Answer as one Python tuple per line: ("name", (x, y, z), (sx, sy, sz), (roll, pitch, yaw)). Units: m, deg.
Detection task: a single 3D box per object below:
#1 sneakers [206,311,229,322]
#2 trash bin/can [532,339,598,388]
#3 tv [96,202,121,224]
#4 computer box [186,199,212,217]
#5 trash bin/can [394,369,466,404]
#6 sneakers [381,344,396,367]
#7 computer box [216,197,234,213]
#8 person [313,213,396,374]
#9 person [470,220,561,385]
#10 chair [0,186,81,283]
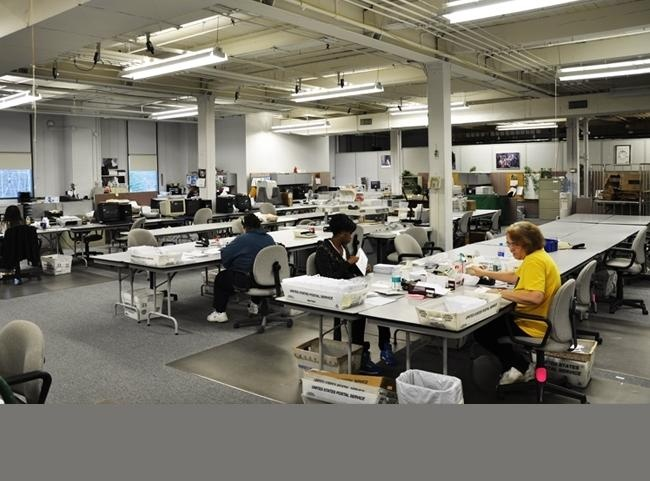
("sneakers", (-1.245, 0.890, 5.580), (0.254, 0.112, 0.103), (3, 4, 23))
("trash bin/can", (2.027, 0.975, 3.891), (0.387, 0.228, 0.389), (-1, 0, 39))
("tv", (-4.322, -0.542, 9.411), (0.381, 0.321, 0.442), (-2, 8, -43))
("computer box", (-2.899, -0.786, 10.986), (0.372, 0.463, 0.684), (3, 5, 27))
("trash bin/can", (0.595, 0.866, 2.725), (0.357, 0.142, 0.376), (0, 3, 11))
("sneakers", (0.544, 1.004, 4.198), (0.179, 0.178, 0.096), (2, 3, 37))
("computer box", (-2.337, -0.810, 11.300), (0.393, 0.393, 0.411), (-1, 3, 7))
("person", (0.268, 0.432, 4.238), (0.719, 1.329, 0.805), (0, 2, -1))
("person", (1.445, 0.474, 3.640), (0.544, 1.229, 0.732), (0, 2, -5))
("chair", (-5.217, -0.021, 8.425), (0.743, 1.323, 2.599), (-1, 3, -30))
